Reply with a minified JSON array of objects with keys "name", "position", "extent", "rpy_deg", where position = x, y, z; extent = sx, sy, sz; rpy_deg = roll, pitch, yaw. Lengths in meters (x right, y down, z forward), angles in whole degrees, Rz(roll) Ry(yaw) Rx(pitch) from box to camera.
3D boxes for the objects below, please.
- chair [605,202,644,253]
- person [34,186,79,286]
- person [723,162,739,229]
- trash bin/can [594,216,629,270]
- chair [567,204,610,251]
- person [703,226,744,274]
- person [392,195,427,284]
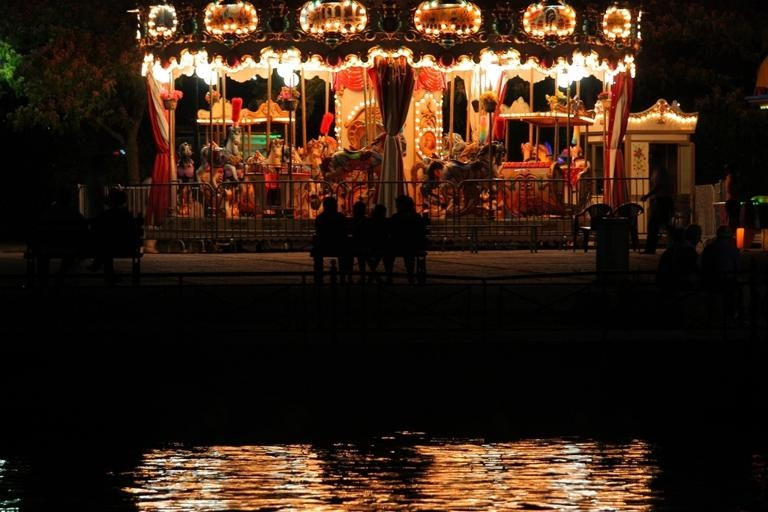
[{"name":"chair","position":[5.602,-0.764,36.782],"extent":[0.807,1.139,0.935],"rpy_deg":[9,20,29]},{"name":"person","position":[-5.954,-0.413,29.270],"extent":[0.856,1.637,3.828],"rpy_deg":[-1,1,-11]},{"name":"person","position":[8.015,-1.334,36.521],"extent":[0.338,1.500,2.865],"rpy_deg":[0,1,13]},{"name":"trash bin/can","position":[4.419,-0.225,30.644],"extent":[0.621,0.986,0.661],"rpy_deg":[0,1,9]},{"name":"chair","position":[4.827,-0.672,36.326],"extent":[0.813,1.164,0.875],"rpy_deg":[2,-4,6]},{"name":"person","position":[5.806,-0.119,27.367],"extent":[0.651,0.752,1.379],"rpy_deg":[0,1,12]},{"name":"person","position":[0.503,-0.413,30.025],"extent":[0.656,1.453,1.416],"rpy_deg":[0,1,1]}]
